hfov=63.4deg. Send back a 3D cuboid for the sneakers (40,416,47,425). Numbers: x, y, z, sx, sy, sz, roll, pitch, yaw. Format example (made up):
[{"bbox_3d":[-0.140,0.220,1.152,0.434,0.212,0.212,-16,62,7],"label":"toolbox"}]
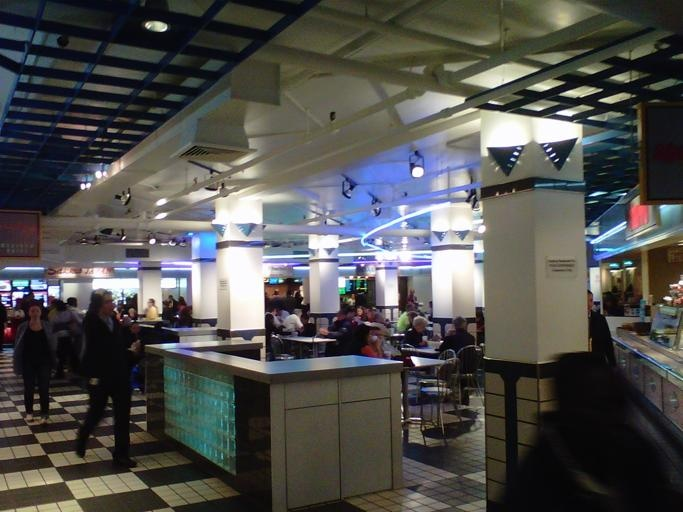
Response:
[{"bbox_3d":[-4.684,2.568,8.619,0.129,0.106,0.085,1,0,-24],"label":"sneakers"}]

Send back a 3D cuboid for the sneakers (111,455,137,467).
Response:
[{"bbox_3d":[-2.588,2.420,6.584,0.326,0.120,0.114,1,-5,12],"label":"sneakers"}]
